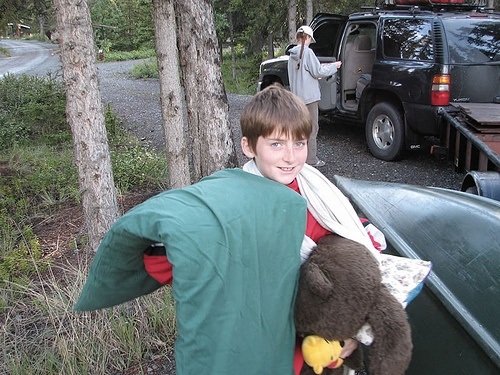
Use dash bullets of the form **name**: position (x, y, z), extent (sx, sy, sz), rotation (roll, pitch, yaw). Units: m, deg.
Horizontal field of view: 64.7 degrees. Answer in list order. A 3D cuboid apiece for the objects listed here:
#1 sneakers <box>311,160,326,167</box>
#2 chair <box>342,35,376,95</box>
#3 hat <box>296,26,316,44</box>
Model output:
- **sneakers**: position (1.093, -0.373, 6.331), extent (0.247, 0.116, 0.103), rotation (-3, 20, -20)
- **chair**: position (2.187, -2.385, 7.787), extent (0.571, 1.028, 0.795), rotation (10, 19, 18)
- **hat**: position (0.844, -2.299, 5.957), extent (0.254, 0.222, 0.593), rotation (0, 22, 7)
